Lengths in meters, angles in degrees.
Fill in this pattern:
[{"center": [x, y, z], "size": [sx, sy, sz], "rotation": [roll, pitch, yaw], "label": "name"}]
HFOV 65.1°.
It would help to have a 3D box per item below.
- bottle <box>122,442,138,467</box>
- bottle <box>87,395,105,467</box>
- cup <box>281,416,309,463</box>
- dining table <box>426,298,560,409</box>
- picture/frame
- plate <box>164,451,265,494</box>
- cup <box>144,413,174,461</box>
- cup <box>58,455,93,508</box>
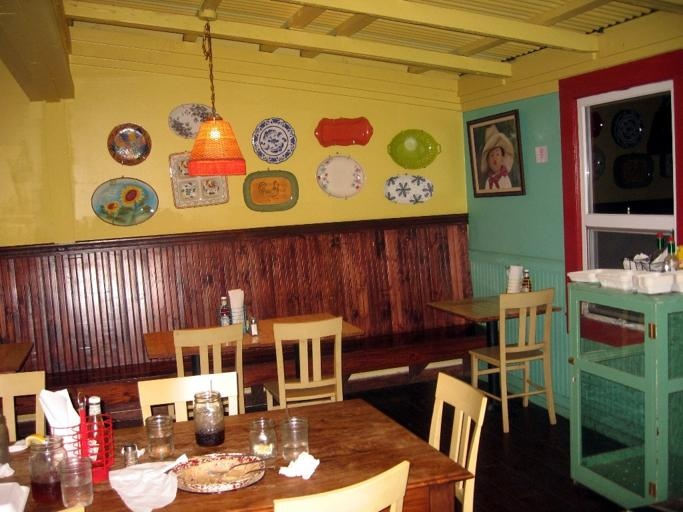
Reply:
[{"center": [-0.902, 0.850, 2.315], "size": [0.070, 0.107, 0.073], "rotation": [1, -3, 0], "label": "bottle"}, {"center": [-1.044, 0.719, 2.275], "size": [0.068, 0.280, 0.288], "rotation": [-6, 7, -26], "label": "bottle"}, {"center": [-0.176, 0.784, 2.352], "size": [0.155, 0.177, 0.160], "rotation": [0, 7, 0], "label": "cup"}, {"center": [1.330, 0.781, 5.304], "size": [0.988, 0.967, 0.970], "rotation": [-8, 11, -43], "label": "dining table"}, {"center": [1.640, -1.095, 5.600], "size": [0.082, 0.982, 0.902], "rotation": [-6, -3, -25], "label": "picture/frame"}, {"center": [-0.502, 0.887, 2.206], "size": [0.380, 0.039, 0.260], "rotation": [-4, 7, -7], "label": "plate"}, {"center": [-0.816, 0.779, 2.388], "size": [0.160, 0.235, 0.154], "rotation": [1, 4, 0], "label": "cup"}, {"center": [-1.024, 0.854, 2.075], "size": [0.117, 0.173, 0.175], "rotation": [-6, 7, -27], "label": "cup"}]
